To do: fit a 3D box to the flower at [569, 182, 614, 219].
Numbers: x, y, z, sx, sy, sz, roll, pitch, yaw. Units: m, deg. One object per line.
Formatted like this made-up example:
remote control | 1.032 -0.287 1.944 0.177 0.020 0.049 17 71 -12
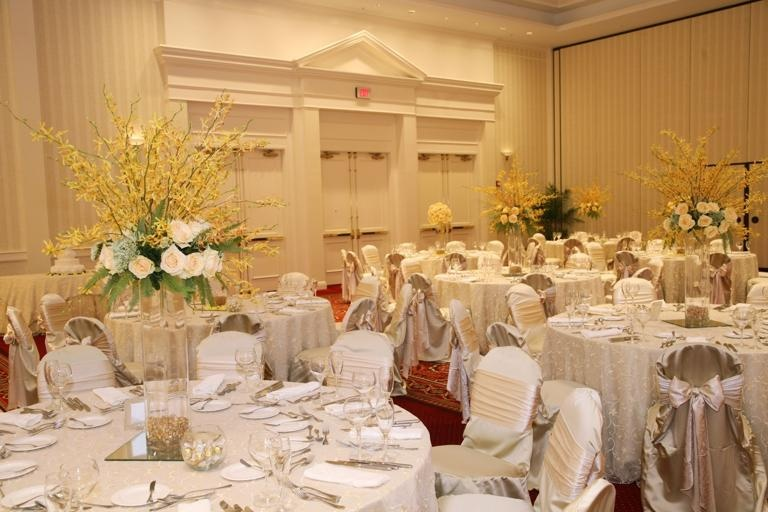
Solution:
flower | 5.081 -1.363 13.374 0.944 1.065 0.988 -4 4 -25
